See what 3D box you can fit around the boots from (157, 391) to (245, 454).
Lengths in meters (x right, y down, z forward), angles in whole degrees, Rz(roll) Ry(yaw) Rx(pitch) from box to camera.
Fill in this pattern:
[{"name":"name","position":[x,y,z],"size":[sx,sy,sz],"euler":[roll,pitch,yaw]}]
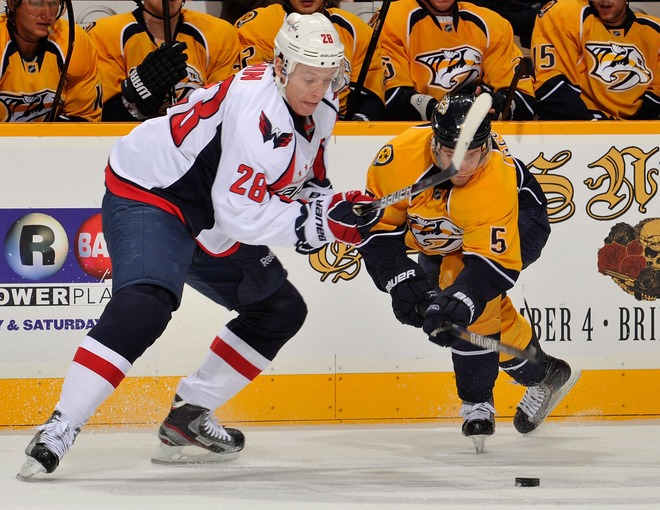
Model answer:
[{"name":"boots","position":[-0.569,0.706,4.324],"size":[0.477,0.265,0.165],"euler":[4,19,-21]}]

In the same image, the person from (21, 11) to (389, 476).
[{"name":"person","position":[-0.427,-0.033,3.932],"size":[1.068,1.863,0.713],"euler":[10,13,-14]}]

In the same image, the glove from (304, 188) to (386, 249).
[{"name":"glove","position":[0.028,-0.133,3.812],"size":[0.287,0.228,0.100],"euler":[6,14,-22]}]

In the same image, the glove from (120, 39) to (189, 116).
[{"name":"glove","position":[-0.798,-0.806,4.636],"size":[0.142,0.382,0.233],"euler":[22,27,-55]}]

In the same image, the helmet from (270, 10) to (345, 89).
[{"name":"helmet","position":[-0.070,-0.777,3.757],"size":[0.279,0.276,0.292],"euler":[-4,41,-18]}]
